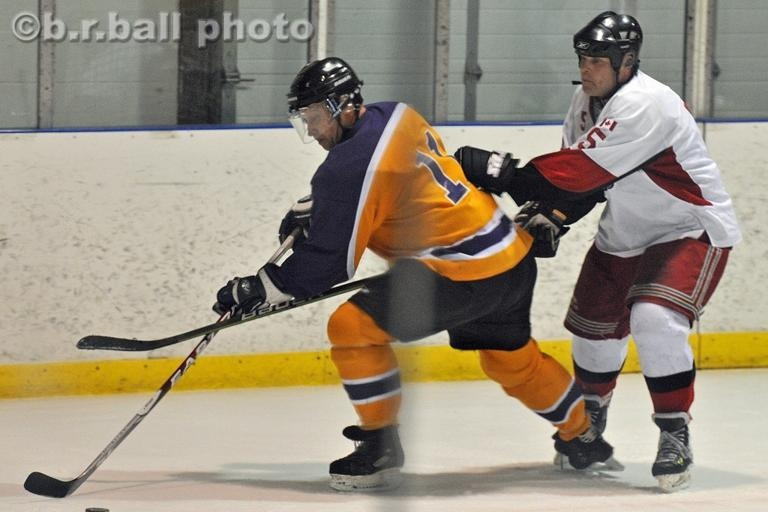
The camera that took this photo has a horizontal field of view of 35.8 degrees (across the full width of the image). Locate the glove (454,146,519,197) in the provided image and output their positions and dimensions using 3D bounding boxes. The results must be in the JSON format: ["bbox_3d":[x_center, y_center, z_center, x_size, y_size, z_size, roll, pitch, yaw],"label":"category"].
[{"bbox_3d":[0.445,-0.374,5.185,0.286,0.180,0.103,10,-30,2],"label":"glove"}]

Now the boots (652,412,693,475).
[{"bbox_3d":[1.237,0.817,5.164,0.171,0.253,0.206,2,15,11],"label":"boots"}]

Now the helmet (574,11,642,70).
[{"bbox_3d":[0.976,-0.963,5.306,0.351,0.234,0.251,-14,31,-34],"label":"helmet"}]

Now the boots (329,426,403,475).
[{"bbox_3d":[-0.121,0.849,5.111,0.443,0.225,0.164,3,-9,-45],"label":"boots"}]

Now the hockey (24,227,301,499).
[{"bbox_3d":[-1.164,0.536,5.948,1.843,0.249,0.197,-34,-21,-11],"label":"hockey"}]

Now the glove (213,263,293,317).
[{"bbox_3d":[-0.552,0.155,5.098,0.355,0.130,0.196,-15,19,8],"label":"glove"}]
